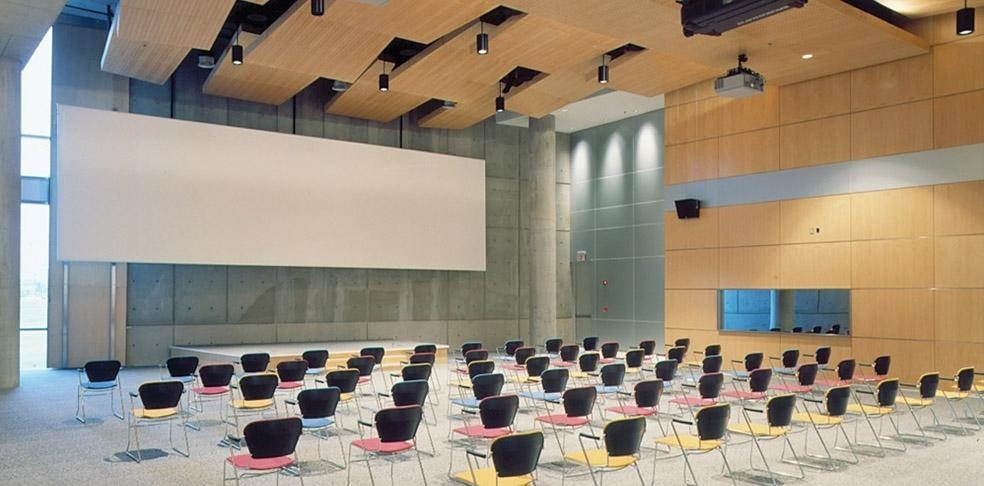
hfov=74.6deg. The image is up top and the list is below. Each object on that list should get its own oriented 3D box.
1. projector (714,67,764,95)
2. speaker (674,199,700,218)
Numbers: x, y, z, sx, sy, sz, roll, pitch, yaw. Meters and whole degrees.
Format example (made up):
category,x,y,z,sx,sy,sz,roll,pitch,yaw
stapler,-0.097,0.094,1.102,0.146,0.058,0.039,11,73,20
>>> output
category,x,y,z,sx,sy,sz,roll,pitch,yaw
projector,7.144,-4.590,18.674,1.065,0.557,1.055,-1,0,-44
speaker,6.899,-1.193,22.691,0.849,0.670,0.362,-6,-9,41
